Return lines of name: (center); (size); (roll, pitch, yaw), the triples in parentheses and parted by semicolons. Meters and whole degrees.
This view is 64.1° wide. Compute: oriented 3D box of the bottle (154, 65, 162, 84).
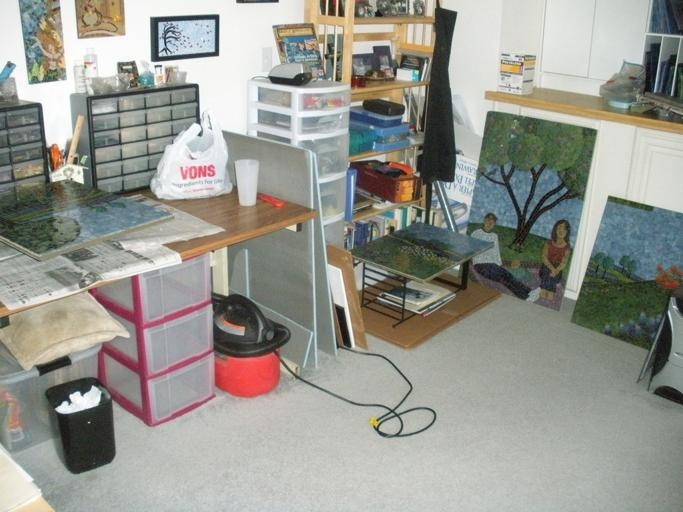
bottle: (-1.023, -1.011, 3.036); (0.042, 0.095, 0.062); (-5, 22, -11)

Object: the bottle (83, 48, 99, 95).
bottle: (-1.277, -0.940, 2.779); (0.079, 0.211, 0.158); (-9, 24, -21)

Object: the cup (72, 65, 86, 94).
cup: (-1.325, -0.894, 2.762); (0.059, 0.136, 0.043); (-10, 24, -23)

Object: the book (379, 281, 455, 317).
book: (0.492, 0.271, 3.629); (0.291, 0.078, 0.298); (14, 26, 35)

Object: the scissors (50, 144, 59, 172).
scissors: (-1.424, -0.486, 2.709); (0.055, 0.119, 0.068); (-11, 25, -26)

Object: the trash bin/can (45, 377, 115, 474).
trash bin/can: (-1.177, 0.761, 2.484); (0.251, 0.372, 0.255); (-14, 26, -30)

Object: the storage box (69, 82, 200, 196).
storage box: (-1.004, -0.614, 2.959); (0.602, 0.491, 0.224); (-8, -7, 6)

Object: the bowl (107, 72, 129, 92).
bowl: (-1.145, -0.888, 2.810); (0.071, 0.113, 0.116); (9, 20, 18)
